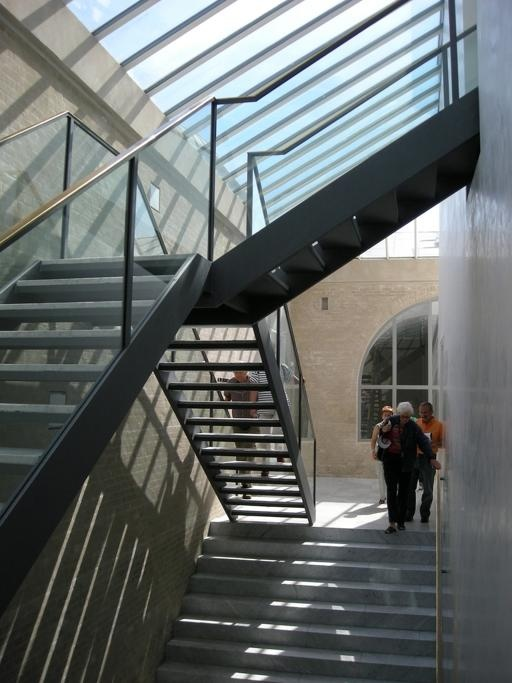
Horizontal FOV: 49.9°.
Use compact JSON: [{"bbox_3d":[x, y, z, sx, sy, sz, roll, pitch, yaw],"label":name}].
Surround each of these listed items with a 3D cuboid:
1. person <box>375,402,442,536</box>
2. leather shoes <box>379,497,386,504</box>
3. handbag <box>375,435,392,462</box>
[{"bbox_3d":[1.704,1.469,6.342,0.639,1.514,1.056,-2,-11,13],"label":"person"},{"bbox_3d":[1.870,2.373,8.190,0.061,0.082,0.187,-4,-35,13],"label":"leather shoes"},{"bbox_3d":[1.430,1.222,6.356,0.184,0.278,0.247,6,-8,-3],"label":"handbag"}]
